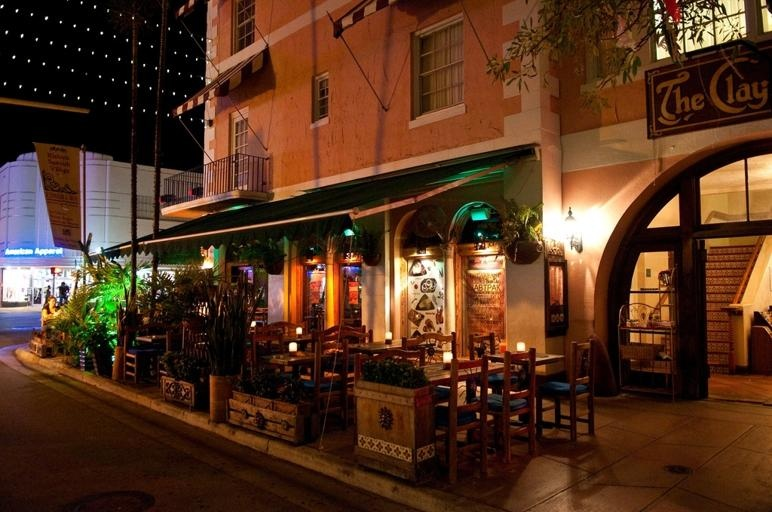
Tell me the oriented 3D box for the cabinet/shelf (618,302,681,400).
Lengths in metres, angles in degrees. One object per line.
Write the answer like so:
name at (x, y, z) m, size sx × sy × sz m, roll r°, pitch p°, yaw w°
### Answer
cabinet/shelf at (5.852, 2.040, 14.533) m, size 1.105 × 1.954 × 0.631 m, roll -2°, pitch -5°, yaw 34°

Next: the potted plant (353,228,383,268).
potted plant at (-0.430, -0.240, 17.770) m, size 0.707 × 0.975 × 0.703 m, roll 1°, pitch 2°, yaw 30°

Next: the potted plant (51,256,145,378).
potted plant at (-8.242, 1.656, 18.399) m, size 1.422 × 3.162 × 3.782 m, roll -7°, pitch 9°, yaw -39°

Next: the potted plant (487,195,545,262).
potted plant at (3.050, -0.525, 14.655) m, size 1.052 × 1.466 × 0.758 m, roll 2°, pitch 8°, yaw 25°
